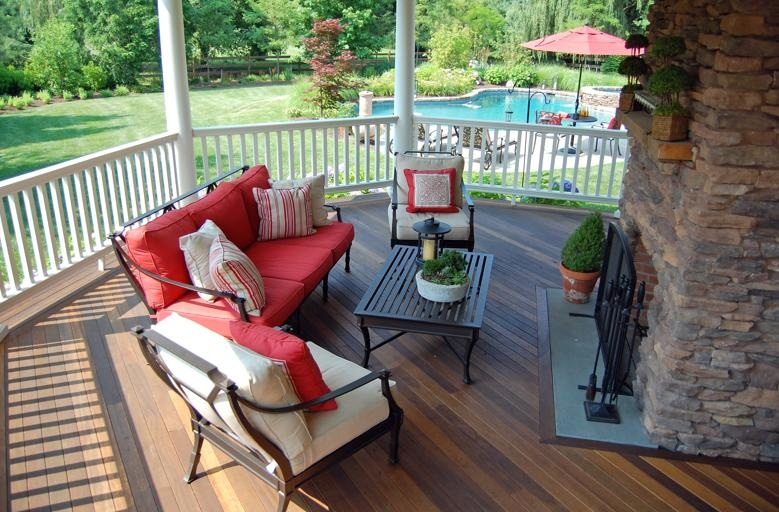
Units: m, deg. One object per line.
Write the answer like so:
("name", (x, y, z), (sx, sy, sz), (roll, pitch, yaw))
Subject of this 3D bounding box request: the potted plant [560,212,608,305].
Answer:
("potted plant", (1.924, 0.027, 5.389), (0.395, 0.938, 0.259), (6, 19, 16))

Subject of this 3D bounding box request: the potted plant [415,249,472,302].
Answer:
("potted plant", (0.475, 0.183, 4.612), (0.438, 0.305, 0.434), (12, 30, 20))

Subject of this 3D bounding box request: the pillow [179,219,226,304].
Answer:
("pillow", (-1.527, 0.074, 4.370), (0.271, 0.452, 0.574), (3, 25, 6))

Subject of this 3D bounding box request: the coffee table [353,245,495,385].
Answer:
("coffee table", (0.297, 0.383, 4.700), (1.147, 0.628, 1.391), (6, 31, 10))
